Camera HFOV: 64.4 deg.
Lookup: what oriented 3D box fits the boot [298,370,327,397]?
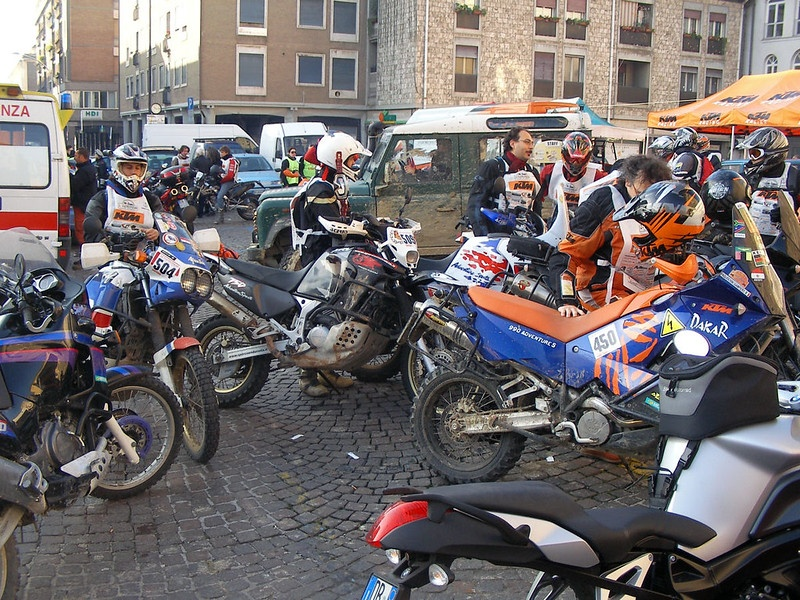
[{"bbox_3d":[-0.916,0.892,6.649,0.385,0.268,0.175,1,5,34],"label":"boot"}]

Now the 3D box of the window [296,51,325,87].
[{"bbox_3d":[-5.878,-15.065,41.108,2.292,2.257,0.180,1,9,-5],"label":"window"}]

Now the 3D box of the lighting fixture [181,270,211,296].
[{"bbox_3d":[-1.616,-0.134,5.003,0.047,0.137,0.197,6,-3,31],"label":"lighting fixture"}]

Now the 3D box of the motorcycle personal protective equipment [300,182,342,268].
[{"bbox_3d":[-0.788,-0.771,6.403,0.308,0.779,0.599,-4,42,-8],"label":"motorcycle personal protective equipment"}]

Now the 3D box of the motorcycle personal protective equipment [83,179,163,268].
[{"bbox_3d":[-2.435,-0.761,5.808,1.030,0.806,0.555,-4,10,-27],"label":"motorcycle personal protective equipment"}]

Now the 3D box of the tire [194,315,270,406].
[{"bbox_3d":[-1.663,0.586,6.219,0.895,0.882,0.260,0,-4,23],"label":"tire"}]

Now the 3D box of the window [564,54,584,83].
[{"bbox_3d":[10.185,-13.808,37.574,1.715,1.809,0.102,-4,7,-14],"label":"window"}]

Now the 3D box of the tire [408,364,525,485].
[{"bbox_3d":[0.452,0.917,4.613,0.884,0.874,0.233,3,1,34],"label":"tire"}]

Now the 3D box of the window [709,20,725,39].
[{"bbox_3d":[19.768,-17.078,39.942,1.265,1.242,0.106,-2,18,-10],"label":"window"}]

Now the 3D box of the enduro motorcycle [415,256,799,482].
[{"bbox_3d":[1.101,0.485,4.786,2.806,1.643,1.380,-5,0,18],"label":"enduro motorcycle"}]

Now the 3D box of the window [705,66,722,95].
[{"bbox_3d":[19.683,-13.773,40.080,1.740,1.598,0.675,-8,14,-37],"label":"window"}]

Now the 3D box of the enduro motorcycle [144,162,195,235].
[{"bbox_3d":[-2.780,-1.303,7.981,0.612,0.740,1.237,-9,9,-23],"label":"enduro motorcycle"}]

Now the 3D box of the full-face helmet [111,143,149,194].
[{"bbox_3d":[-2.412,-1.207,5.637,0.378,0.353,0.305,24,19,29],"label":"full-face helmet"}]

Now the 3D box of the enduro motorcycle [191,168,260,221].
[{"bbox_3d":[-5.951,-3.487,21.137,2.802,1.696,1.557,-1,2,-17],"label":"enduro motorcycle"}]

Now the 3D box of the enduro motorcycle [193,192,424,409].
[{"bbox_3d":[-0.697,0.058,5.954,3.086,1.913,1.260,-3,-6,15],"label":"enduro motorcycle"}]

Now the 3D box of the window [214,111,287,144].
[{"bbox_3d":[-9.926,-11.624,42.220,3.214,1.700,2.304,-4,21,-3],"label":"window"}]

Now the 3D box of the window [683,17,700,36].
[{"bbox_3d":[17.980,-17.063,39.488,1.207,1.197,0.116,3,3,-6],"label":"window"}]

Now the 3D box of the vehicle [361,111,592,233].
[{"bbox_3d":[0.904,-2.244,11.940,3.135,1.883,2.278,2,9,-1],"label":"vehicle"}]

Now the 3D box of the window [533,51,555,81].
[{"bbox_3d":[8.305,-13.787,37.096,1.657,1.969,0.204,1,4,-4],"label":"window"}]

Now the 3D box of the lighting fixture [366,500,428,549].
[{"bbox_3d":[-0.016,0.676,1.962,0.183,0.066,0.129,-7,-1,-23],"label":"lighting fixture"}]

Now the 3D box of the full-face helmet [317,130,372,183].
[{"bbox_3d":[-0.543,-1.572,6.836,0.566,0.486,0.507,23,35,30],"label":"full-face helmet"}]
